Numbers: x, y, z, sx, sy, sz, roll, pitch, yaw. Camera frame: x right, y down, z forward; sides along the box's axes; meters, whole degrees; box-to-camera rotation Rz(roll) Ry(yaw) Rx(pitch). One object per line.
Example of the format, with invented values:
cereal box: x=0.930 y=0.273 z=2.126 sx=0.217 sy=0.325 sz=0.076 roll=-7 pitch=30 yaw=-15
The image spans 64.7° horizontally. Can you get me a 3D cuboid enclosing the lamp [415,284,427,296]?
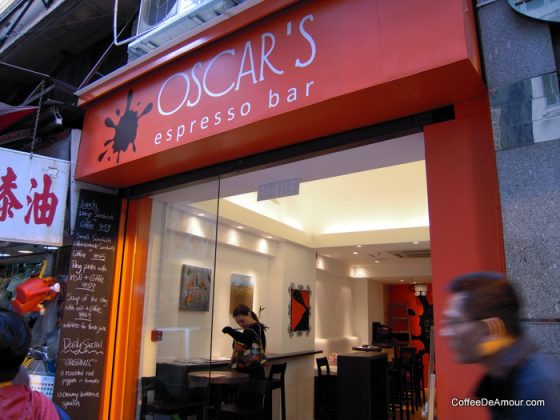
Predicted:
lamp: x=3.761 y=2.124 z=11.789 sx=0.391 sy=0.262 sz=0.407 roll=-1 pitch=-16 yaw=9

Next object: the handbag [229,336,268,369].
handbag: x=-0.424 y=1.892 z=5.809 sx=0.405 sy=0.429 sz=0.327 roll=-7 pitch=-27 yaw=4

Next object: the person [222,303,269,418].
person: x=-0.470 y=1.950 z=5.639 sx=0.451 sy=1.216 sz=0.509 roll=10 pitch=-51 yaw=-10
